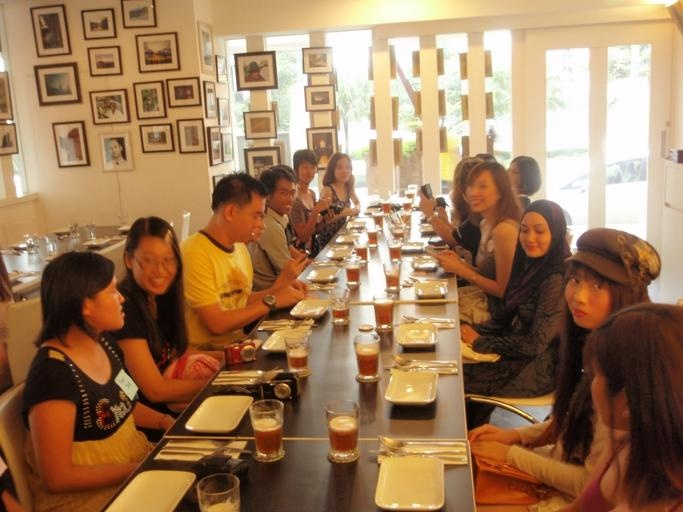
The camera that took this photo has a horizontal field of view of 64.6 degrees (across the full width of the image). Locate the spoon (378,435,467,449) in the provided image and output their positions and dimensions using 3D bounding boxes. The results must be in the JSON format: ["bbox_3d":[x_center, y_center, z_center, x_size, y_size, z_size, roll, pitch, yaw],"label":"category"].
[{"bbox_3d":[0.243,0.566,1.635,0.274,0.015,0.085,0,9,4],"label":"spoon"}]

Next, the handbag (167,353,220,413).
[{"bbox_3d":[-0.634,0.513,2.327,0.224,0.088,0.232,-1,9,5],"label":"handbag"}]

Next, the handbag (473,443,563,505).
[{"bbox_3d":[0.574,0.740,1.850,0.171,0.055,0.176,1,15,-5],"label":"handbag"}]

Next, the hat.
[{"bbox_3d":[1.002,0.040,1.991,0.272,0.134,0.217,30,-1,-26],"label":"hat"}]
